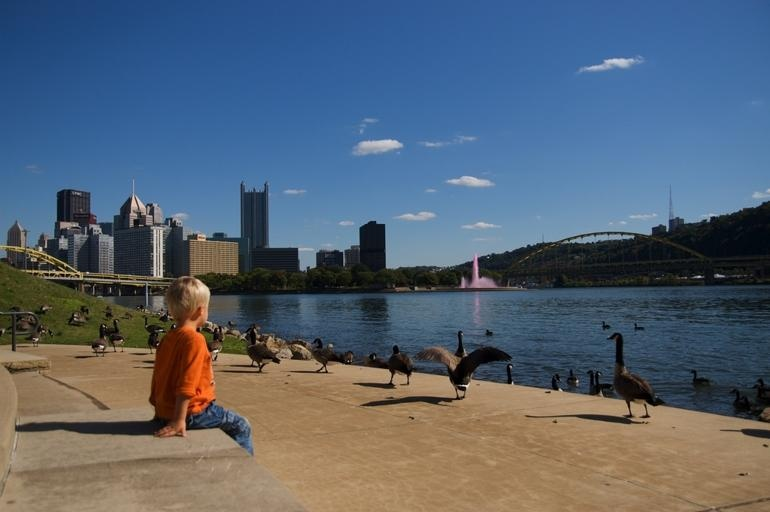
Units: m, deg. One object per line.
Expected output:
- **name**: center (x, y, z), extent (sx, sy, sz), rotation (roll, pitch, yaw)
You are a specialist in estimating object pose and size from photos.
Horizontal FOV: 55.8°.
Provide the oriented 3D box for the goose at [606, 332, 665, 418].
- **goose**: center (7.157, 3.367, 20.667), extent (0.890, 2.203, 2.073), rotation (-1, 4, -38)
